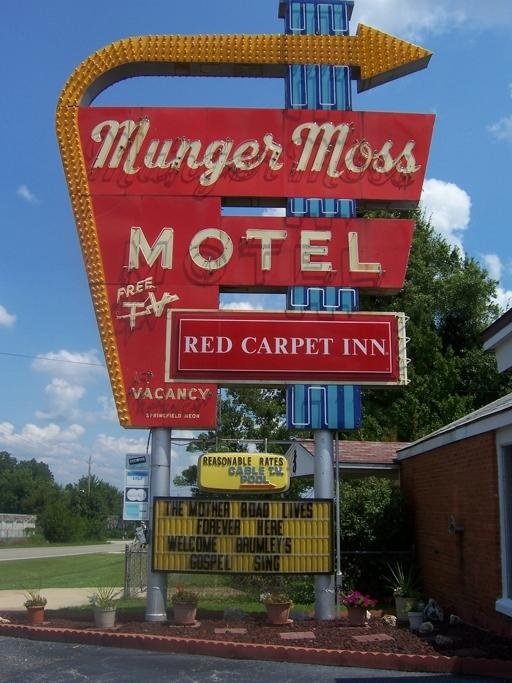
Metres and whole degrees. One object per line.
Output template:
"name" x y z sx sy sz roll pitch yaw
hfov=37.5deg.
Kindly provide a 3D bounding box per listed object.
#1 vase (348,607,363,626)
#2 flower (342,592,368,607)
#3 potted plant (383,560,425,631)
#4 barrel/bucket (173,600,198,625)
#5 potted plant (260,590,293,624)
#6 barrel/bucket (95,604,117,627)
"vase" 2.127 5.854 16.089 0.379 0.339 0.441 2 -16 4
"flower" 2.111 5.533 16.057 0.579 0.342 0.458 -3 -13 5
"potted plant" 3.567 6.188 18.234 1.152 1.610 1.119 -1 -19 2
"barrel/bucket" -1.575 6.064 16.773 0.505 0.372 0.486 2 -21 1
"potted plant" 0.446 5.980 16.826 1.032 0.678 0.972 0 -17 1
"barrel/bucket" -3.296 5.998 16.460 0.467 0.334 0.449 1 -20 0
